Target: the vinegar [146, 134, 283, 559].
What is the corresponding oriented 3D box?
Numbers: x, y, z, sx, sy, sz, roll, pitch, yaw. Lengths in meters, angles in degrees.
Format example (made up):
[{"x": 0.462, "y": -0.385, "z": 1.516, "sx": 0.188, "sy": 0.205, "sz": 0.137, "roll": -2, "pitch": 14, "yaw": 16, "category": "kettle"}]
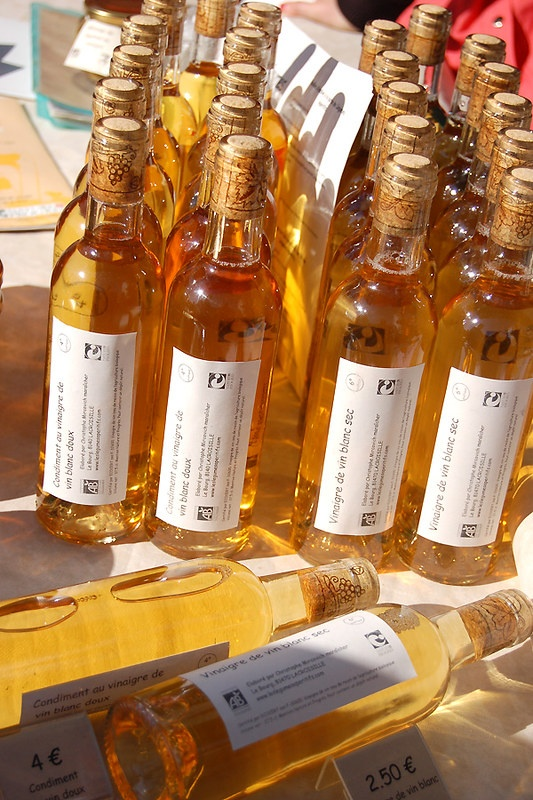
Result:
[{"x": -0.031, "y": -0.013, "z": 0.470, "sx": 0.085, "sy": 0.315, "sz": 0.101, "roll": 6, "pitch": 20, "yaw": -9, "category": "vinegar"}]
